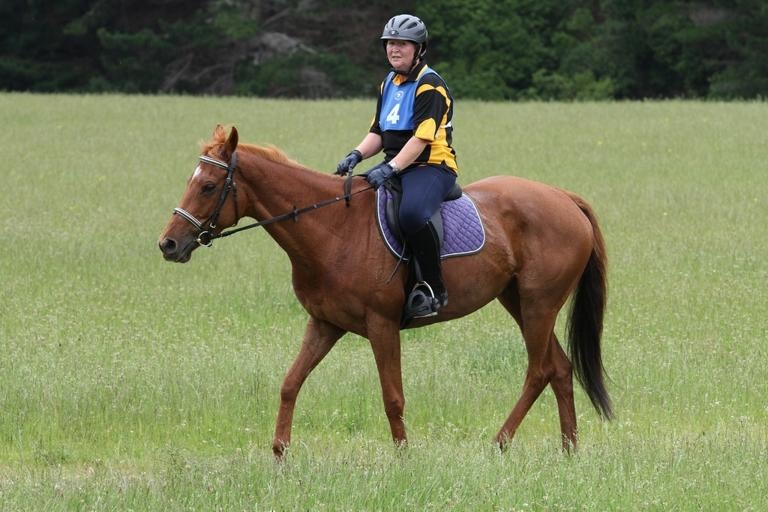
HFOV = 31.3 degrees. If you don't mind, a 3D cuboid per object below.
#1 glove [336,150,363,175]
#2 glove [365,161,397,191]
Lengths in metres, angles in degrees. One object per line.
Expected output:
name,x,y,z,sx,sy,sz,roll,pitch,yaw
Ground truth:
glove,-0.740,-1.969,29.431,0.574,0.233,0.431,-40,21,-3
glove,-0.097,-1.715,29.055,0.652,0.287,0.379,-32,-9,-49
